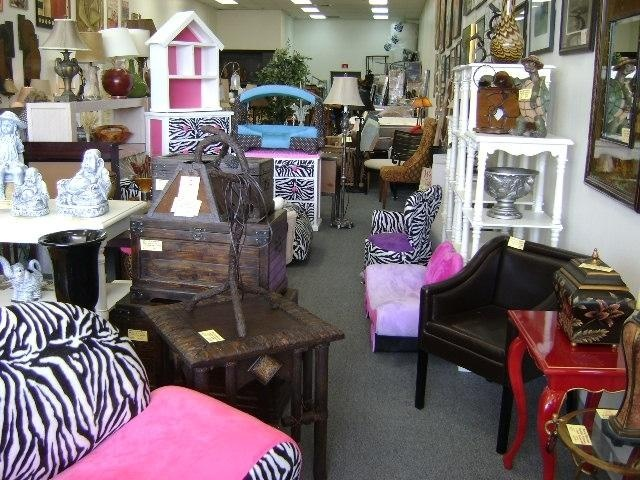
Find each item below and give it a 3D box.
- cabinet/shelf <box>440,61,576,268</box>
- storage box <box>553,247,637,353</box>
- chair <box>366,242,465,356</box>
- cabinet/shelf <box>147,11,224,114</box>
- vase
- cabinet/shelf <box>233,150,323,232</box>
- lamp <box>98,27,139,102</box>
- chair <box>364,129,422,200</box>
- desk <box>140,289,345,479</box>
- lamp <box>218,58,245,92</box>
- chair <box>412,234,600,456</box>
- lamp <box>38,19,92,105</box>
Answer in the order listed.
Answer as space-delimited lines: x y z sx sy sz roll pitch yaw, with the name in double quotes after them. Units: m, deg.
1.275 -0.498 3.205 0.473 1.326 1.438 3 13 7 "cabinet/shelf"
1.074 0.247 1.892 0.238 0.282 0.241 1 15 9 "storage box"
0.682 0.364 3.730 0.687 0.625 1.233 1 11 1 "chair"
-1.265 -1.661 4.527 0.272 0.876 0.726 13 21 41 "cabinet/shelf"
-1.207 0.165 2.372 0.336 0.414 0.342 11 -10 -32 "vase"
-0.559 -0.934 6.526 1.235 1.250 0.773 7 46 5 "cabinet/shelf"
-2.257 -1.943 5.346 0.420 0.707 0.382 -10 16 -40 "lamp"
1.075 -1.262 8.009 0.774 1.037 0.802 5 11 -5 "chair"
-0.313 0.492 2.321 0.853 0.893 0.855 -6 15 -25 "desk"
-1.770 -3.258 9.593 0.451 0.661 0.306 -1 -12 -2 "lamp"
0.983 0.505 2.618 0.717 0.916 0.707 -7 13 -40 "chair"
-2.421 -1.709 4.591 0.403 0.772 0.919 -9 17 -27 "lamp"
